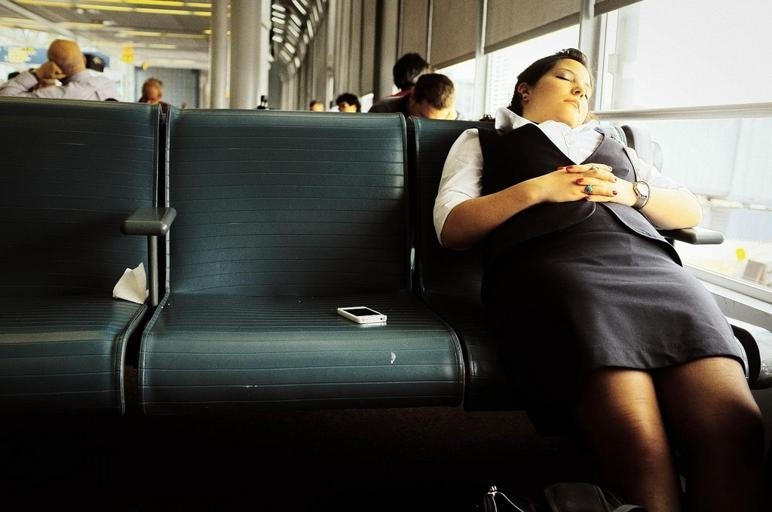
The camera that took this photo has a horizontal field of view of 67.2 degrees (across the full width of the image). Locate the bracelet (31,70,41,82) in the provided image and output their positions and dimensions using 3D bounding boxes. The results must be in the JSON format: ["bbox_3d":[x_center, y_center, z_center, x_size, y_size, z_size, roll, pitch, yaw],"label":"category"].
[{"bbox_3d":[-2.705,-1.405,4.489,0.118,0.101,0.037,1,9,42],"label":"bracelet"}]

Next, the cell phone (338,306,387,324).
[{"bbox_3d":[-0.072,0.188,1.845,0.102,0.025,0.160,-2,11,-32],"label":"cell phone"}]

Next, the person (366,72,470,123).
[{"bbox_3d":[0.201,-0.955,3.729,0.596,0.268,0.741,0,10,-15],"label":"person"}]
